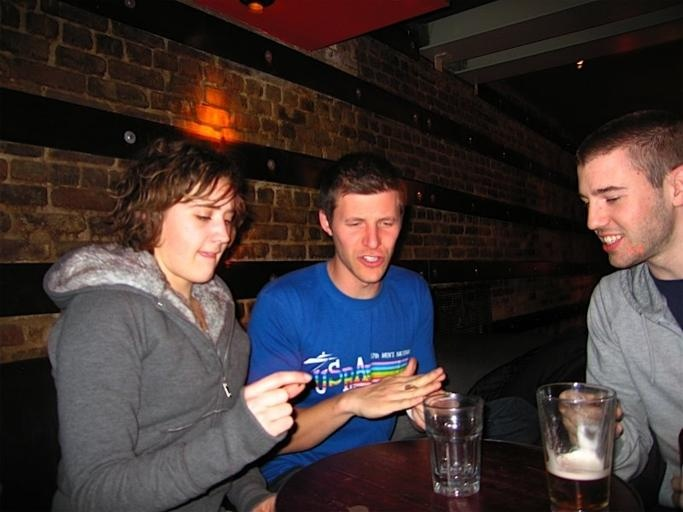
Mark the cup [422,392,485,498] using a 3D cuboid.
[{"bbox_3d":[0.326,0.548,1.487,0.168,0.265,0.151,3,0,12],"label":"cup"}]
